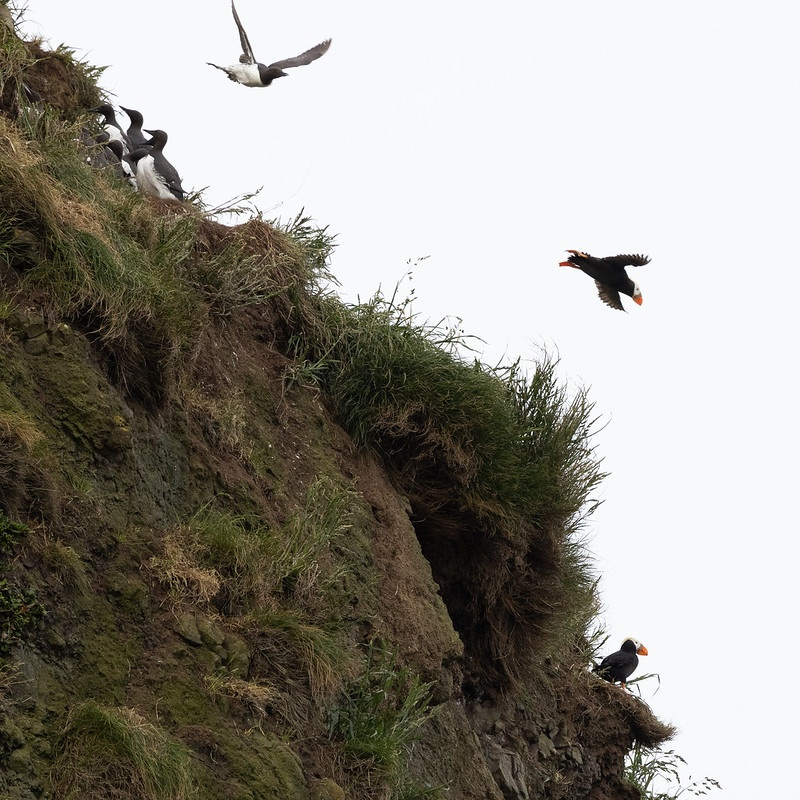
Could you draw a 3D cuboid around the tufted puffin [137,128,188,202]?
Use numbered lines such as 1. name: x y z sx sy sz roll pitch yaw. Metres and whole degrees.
1. tufted puffin: -1.675 -1.600 15.209 0.352 0.568 0.235 -5 -11 8
